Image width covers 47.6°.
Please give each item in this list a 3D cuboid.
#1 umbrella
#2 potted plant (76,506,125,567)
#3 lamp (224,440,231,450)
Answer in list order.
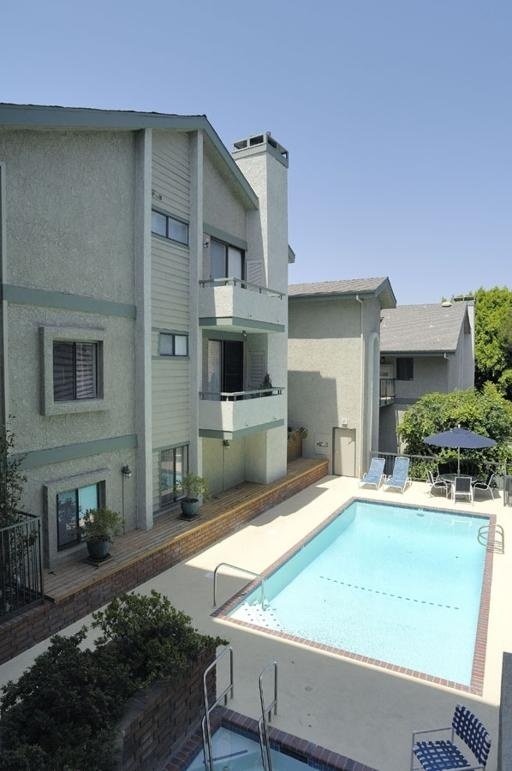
[{"bbox_3d":[6.468,1.709,18.623,1.708,1.574,1.954,3,3,20],"label":"umbrella"},{"bbox_3d":[-3.229,2.926,11.889,0.822,1.206,1.015,2,3,12],"label":"potted plant"},{"bbox_3d":[-0.925,1.797,17.913,0.122,0.341,0.111,7,8,43],"label":"lamp"}]
